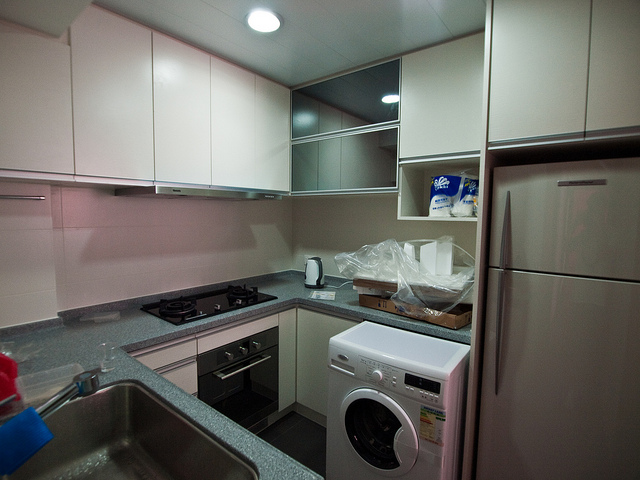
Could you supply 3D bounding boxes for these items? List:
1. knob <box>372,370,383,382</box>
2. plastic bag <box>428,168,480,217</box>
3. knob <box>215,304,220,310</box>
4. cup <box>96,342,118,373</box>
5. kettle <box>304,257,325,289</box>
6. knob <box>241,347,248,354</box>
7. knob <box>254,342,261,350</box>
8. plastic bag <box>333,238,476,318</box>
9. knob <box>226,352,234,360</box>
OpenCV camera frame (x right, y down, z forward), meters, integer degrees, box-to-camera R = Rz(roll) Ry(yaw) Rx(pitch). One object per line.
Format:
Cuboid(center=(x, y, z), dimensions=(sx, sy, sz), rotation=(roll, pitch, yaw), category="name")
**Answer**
Cuboid(center=(0.305, 0.702, 2.379), dimensions=(0.047, 0.048, 0.015), rotation=(29, 19, 28), category="knob")
Cuboid(center=(0.858, -0.273, 2.902), dimensions=(0.336, 0.239, 0.194), rotation=(1, 3, 13), category="plastic bag")
Cuboid(center=(-0.661, 0.427, 2.948), dimensions=(0.016, 0.020, 0.027), rotation=(-3, 6, -35), category="knob")
Cuboid(center=(-1.010, 0.558, 2.181), dimensions=(0.108, 0.128, 0.115), rotation=(-2, -9, 0), category="cup")
Cuboid(center=(-0.042, 0.249, 3.525), dimensions=(0.169, 0.236, 0.213), rotation=(-4, 9, -32), category="kettle")
Cuboid(center=(-0.483, 0.701, 2.931), dimensions=(0.012, 0.049, 0.056), rotation=(2, 8, 37), category="knob")
Cuboid(center=(-0.409, 0.685, 2.999), dimensions=(0.045, 0.045, 0.034), rotation=(2, 5, 27), category="knob")
Cuboid(center=(0.573, 0.185, 2.888), dimensions=(0.687, 0.330, 0.513), rotation=(-1, -5, 43), category="plastic bag")
Cuboid(center=(-0.562, 0.716, 2.840), dimensions=(0.021, 0.039, 0.039), rotation=(19, -17, 27), category="knob")
